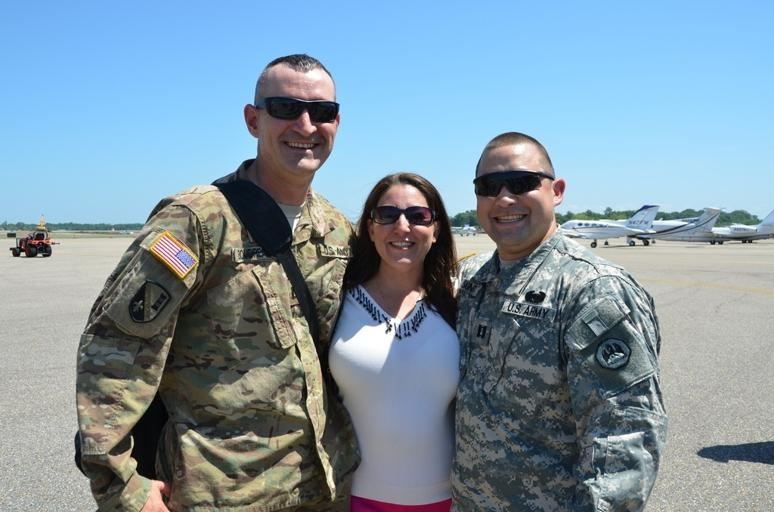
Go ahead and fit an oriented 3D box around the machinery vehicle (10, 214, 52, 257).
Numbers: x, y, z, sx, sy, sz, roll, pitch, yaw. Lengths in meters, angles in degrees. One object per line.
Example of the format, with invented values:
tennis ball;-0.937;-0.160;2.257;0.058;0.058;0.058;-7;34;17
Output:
machinery vehicle;-19.075;-0.863;31.256;2.578;1.894;1.290;-2;-2;27
